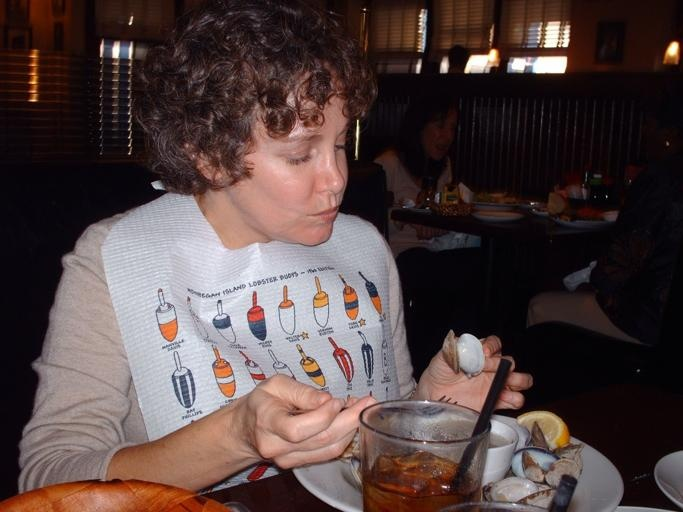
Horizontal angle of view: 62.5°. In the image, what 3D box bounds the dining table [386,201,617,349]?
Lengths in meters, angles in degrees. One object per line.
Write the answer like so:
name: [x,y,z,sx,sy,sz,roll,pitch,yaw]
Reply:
dining table: [1.204,0.050,4.101,1.059,1.060,1.065,15,29,32]
